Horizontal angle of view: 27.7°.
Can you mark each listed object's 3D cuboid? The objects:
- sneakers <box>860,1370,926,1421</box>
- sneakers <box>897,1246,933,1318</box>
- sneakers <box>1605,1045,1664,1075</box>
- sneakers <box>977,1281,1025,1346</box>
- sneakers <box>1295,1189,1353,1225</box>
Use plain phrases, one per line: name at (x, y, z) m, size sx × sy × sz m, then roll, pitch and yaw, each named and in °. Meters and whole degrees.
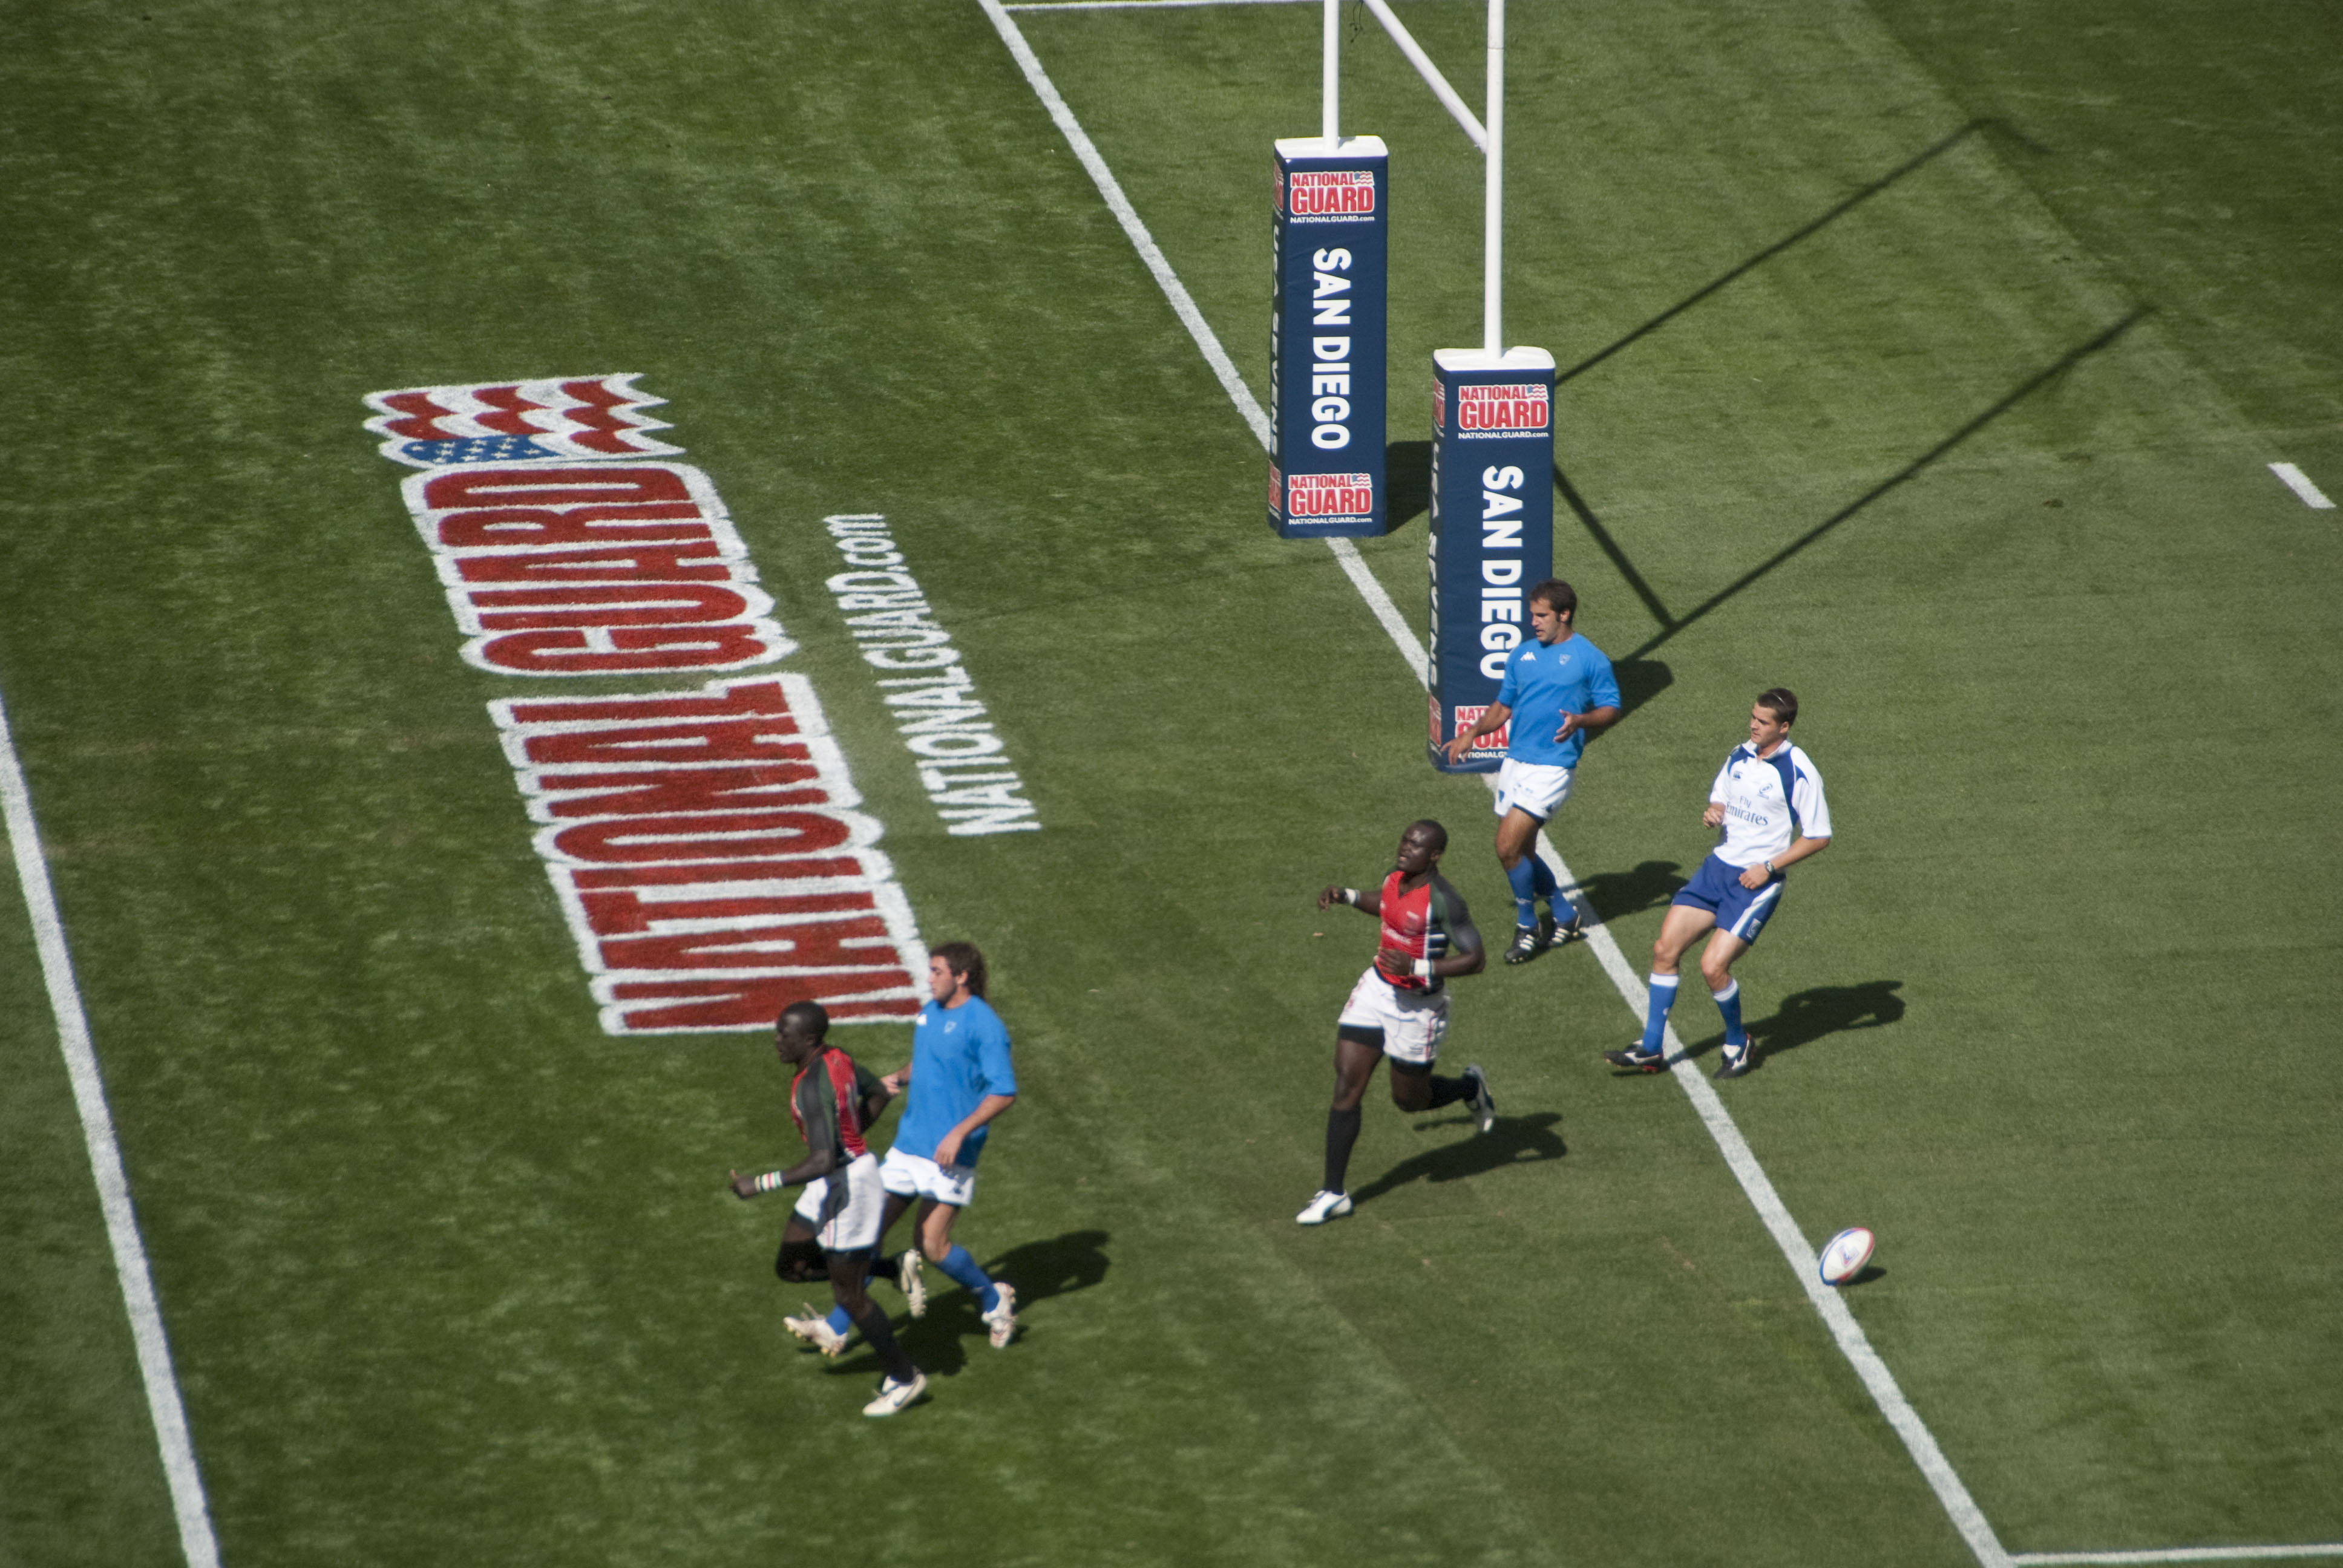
sneakers at (-1.861, 4.178, 32.702) m, size 0.590 × 0.227 × 0.173 m, roll -24°, pitch 31°, yaw 23°
sneakers at (-1.788, 3.482, 33.136) m, size 0.285 × 0.502 × 0.260 m, roll -8°, pitch 28°, yaw 6°
sneakers at (3.471, 2.087, 35.744) m, size 0.499 × 0.150 × 0.148 m, roll 3°, pitch 22°, yaw -1°
sneakers at (-1.157, 3.699, 33.246) m, size 0.183 × 0.385 × 0.310 m, roll -1°, pitch 14°, yaw 33°
sneakers at (1.024, 3.043, 34.235) m, size 0.484 × 0.135 × 0.184 m, roll -6°, pitch 13°, yaw -36°
